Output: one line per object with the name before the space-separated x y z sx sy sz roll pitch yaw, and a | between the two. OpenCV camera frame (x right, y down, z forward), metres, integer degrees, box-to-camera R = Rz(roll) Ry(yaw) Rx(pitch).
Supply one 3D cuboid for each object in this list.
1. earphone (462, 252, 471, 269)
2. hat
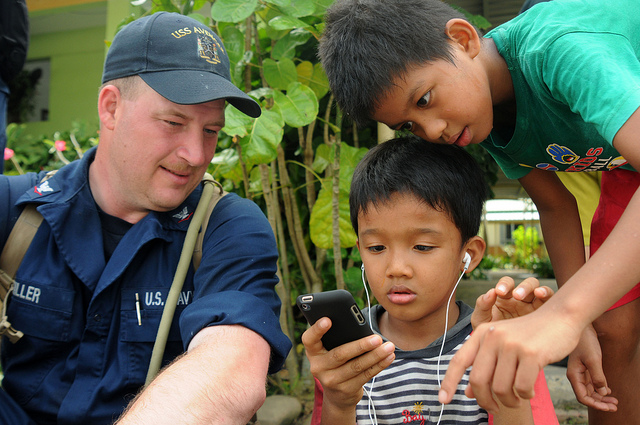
earphone | 0.694 0.228 3.214 0.017 0.064 0.045 12 9 -9
hat | -0.682 -0.803 3.349 0.683 0.363 0.444 20 9 28
